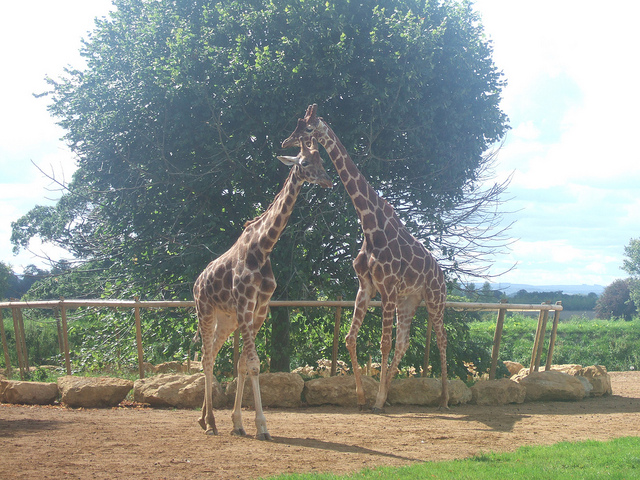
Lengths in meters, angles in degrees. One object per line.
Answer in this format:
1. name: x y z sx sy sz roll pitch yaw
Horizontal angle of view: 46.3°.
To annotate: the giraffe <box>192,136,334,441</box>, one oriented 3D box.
1. giraffe: -1.275 0.825 14.472 2.252 5.623 1.576 0 4 -11
